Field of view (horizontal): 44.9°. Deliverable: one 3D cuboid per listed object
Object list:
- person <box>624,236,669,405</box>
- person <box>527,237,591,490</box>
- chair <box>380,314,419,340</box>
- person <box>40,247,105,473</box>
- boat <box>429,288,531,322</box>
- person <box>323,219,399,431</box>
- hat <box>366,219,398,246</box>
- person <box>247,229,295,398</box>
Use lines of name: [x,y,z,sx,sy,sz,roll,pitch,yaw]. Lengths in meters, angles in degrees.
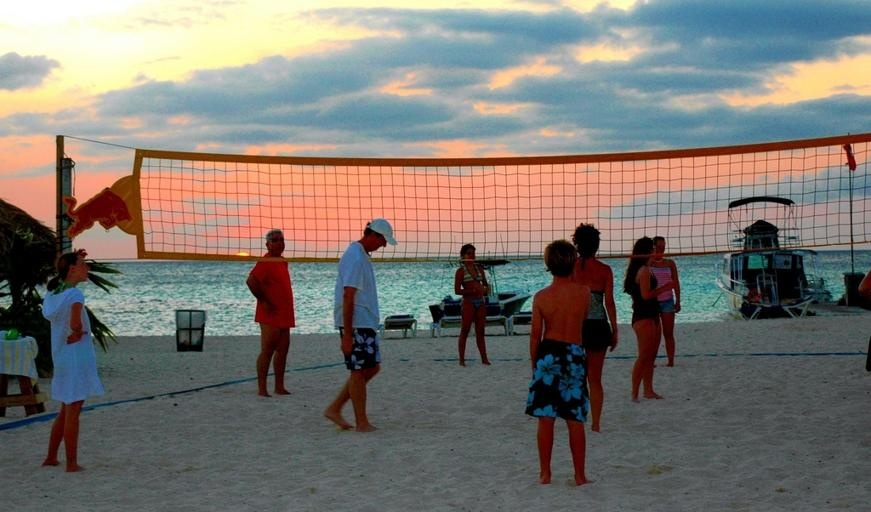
person: [2.862,0.858,14.518,0.472,2.229,1.036,-3,0,12]
person: [1.489,1.245,12.551,0.766,2.835,0.733,-2,0,8]
chair: [-0.739,1.569,21.913,0.840,0.533,0.534,0,7,-3]
person: [-4.423,1.252,12.734,0.772,2.414,0.468,-3,0,34]
boat: [1.119,1.078,22.906,2.285,0.481,0.870,-3,2,-8]
person: [-1.020,0.883,13.804,0.976,2.628,0.837,-2,0,-6]
hat: [-0.650,-0.298,13.682,0.444,0.216,0.281,25,14,-13]
person: [-2.388,0.807,15.347,0.612,2.236,1.565,-2,0,-9]
